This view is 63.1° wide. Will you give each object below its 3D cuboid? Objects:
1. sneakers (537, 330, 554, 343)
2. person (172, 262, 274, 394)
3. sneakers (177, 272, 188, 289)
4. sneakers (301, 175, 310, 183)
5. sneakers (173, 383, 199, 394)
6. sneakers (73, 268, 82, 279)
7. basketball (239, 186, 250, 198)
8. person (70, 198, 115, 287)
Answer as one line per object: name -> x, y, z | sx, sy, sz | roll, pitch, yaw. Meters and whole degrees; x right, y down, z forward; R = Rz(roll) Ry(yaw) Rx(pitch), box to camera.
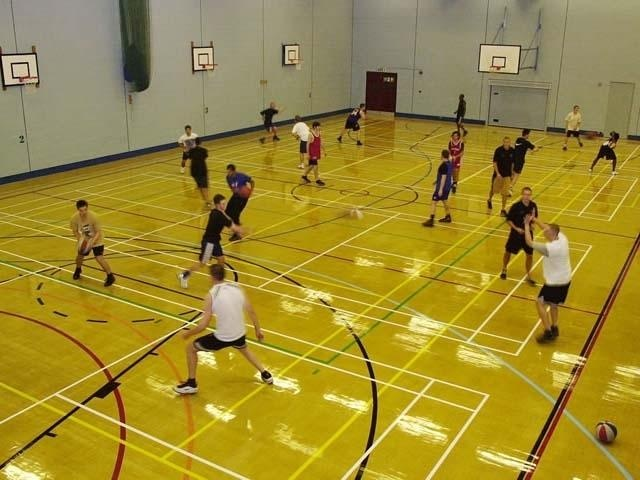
sneakers -> 3.788, 1.622, 8.791 | 0.276, 0.212, 0.166 | -1, 14, -8
person -> -1.544, 1.477, 8.242 | 0.817, 1.424, 0.917 | 21, 47, 12
sneakers -> -2.688, 0.790, 10.338 | 0.148, 0.405, 0.128 | -4, 12, 25
sneakers -> -0.452, -2.058, 17.466 | 0.389, 0.261, 0.143 | -3, 39, -7
sneakers -> -1.911, 2.153, 7.443 | 0.314, 0.172, 0.145 | 0, 28, -5
sneakers -> -4.941, 0.693, 10.653 | 0.113, 0.162, 0.253 | 3, 21, -6
basketball -> -1.711, -1.120, 12.077 | 0.124, 0.255, 0.258 | 0, 33, -46
person -> -4.551, 0.015, 10.291 | 0.899, 1.783, 0.582 | 11, 21, 32
